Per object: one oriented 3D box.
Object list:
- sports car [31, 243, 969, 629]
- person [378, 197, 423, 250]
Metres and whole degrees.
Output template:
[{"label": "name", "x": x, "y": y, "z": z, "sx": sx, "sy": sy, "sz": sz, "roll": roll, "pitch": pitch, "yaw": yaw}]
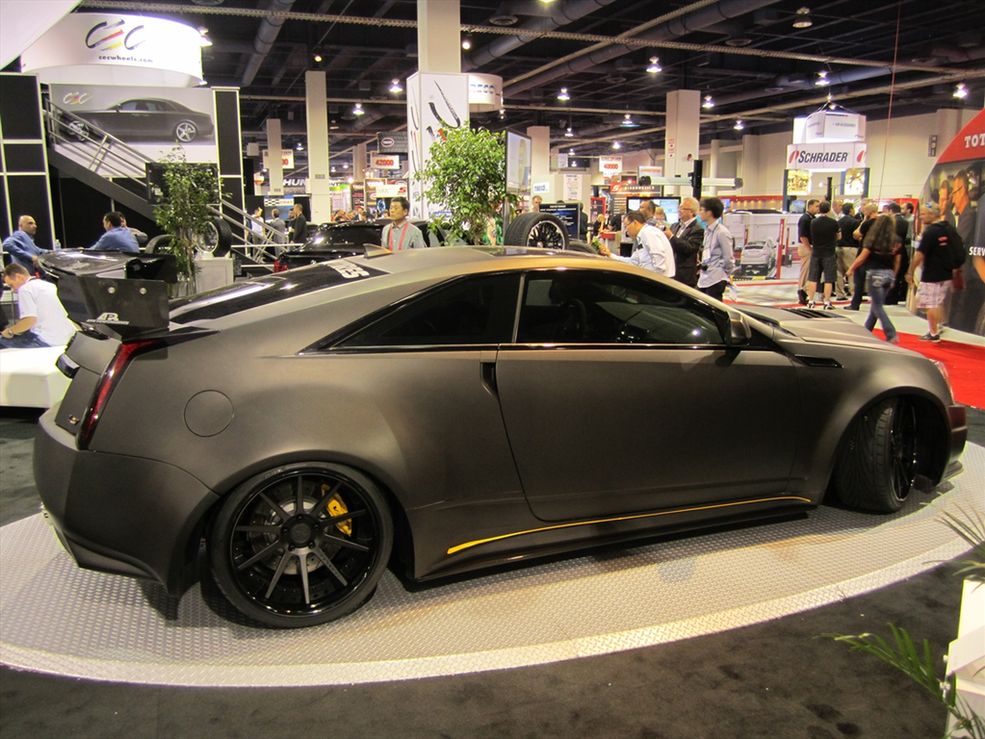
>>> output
[{"label": "sports car", "x": 0.208, "y": 0.133, "z": 3.214, "sx": 3.989, "sy": 1.027, "sz": 1.880, "roll": -7, "pitch": 13, "yaw": -18}, {"label": "person", "x": -1.302, "y": -2.105, "z": 8.416, "sx": 0.521, "sy": 0.727, "sz": 0.946, "roll": -2, "pitch": 13, "yaw": -11}]
